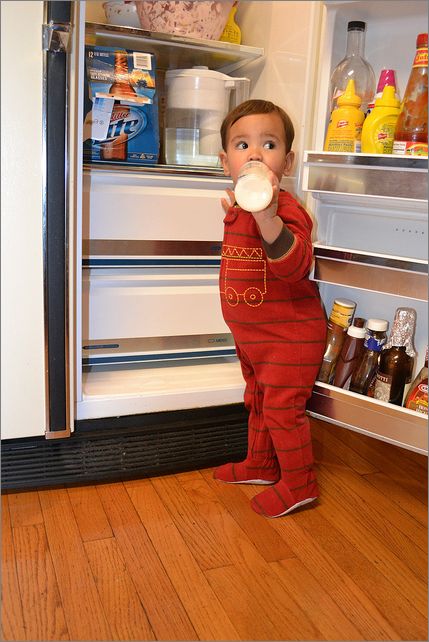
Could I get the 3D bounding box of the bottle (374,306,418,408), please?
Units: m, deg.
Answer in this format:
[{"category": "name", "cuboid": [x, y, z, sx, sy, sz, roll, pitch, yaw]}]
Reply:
[{"category": "bottle", "cuboid": [0.422, 0.075, 1.067, 0.075, 0.208, 0.167, 7, 9, 26]}]
